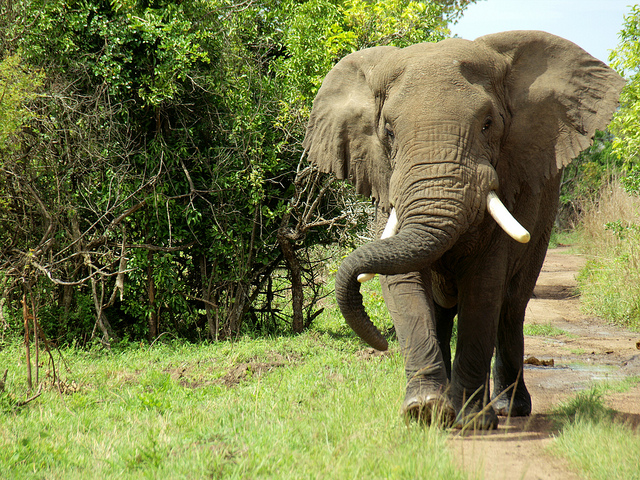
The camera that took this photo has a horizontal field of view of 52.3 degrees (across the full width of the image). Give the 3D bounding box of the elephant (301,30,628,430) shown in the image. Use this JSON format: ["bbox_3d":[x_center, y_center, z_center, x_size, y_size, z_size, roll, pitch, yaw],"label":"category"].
[{"bbox_3d":[1.770,-0.044,7.498,2.757,3.647,4.140,-3,-10,21],"label":"elephant"}]
